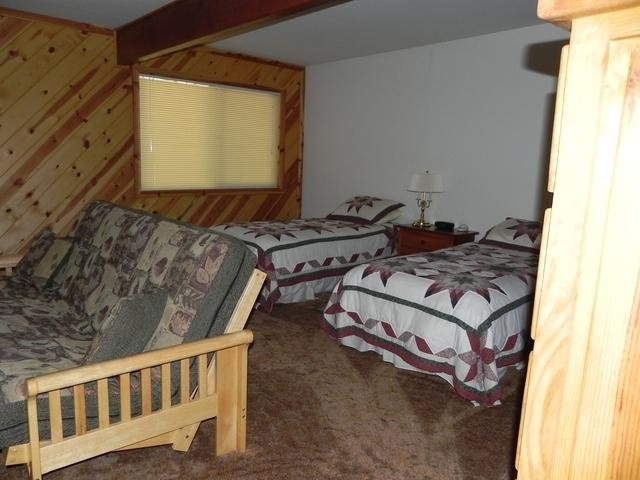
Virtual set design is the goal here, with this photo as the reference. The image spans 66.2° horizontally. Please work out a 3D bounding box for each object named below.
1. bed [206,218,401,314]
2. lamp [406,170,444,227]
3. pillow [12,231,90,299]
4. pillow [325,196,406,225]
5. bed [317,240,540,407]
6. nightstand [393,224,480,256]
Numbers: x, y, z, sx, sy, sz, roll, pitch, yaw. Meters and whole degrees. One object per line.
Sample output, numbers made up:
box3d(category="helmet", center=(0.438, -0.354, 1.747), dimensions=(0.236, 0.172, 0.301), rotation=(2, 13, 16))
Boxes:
box3d(category="bed", center=(-0.040, 0.156, 4.514), dimensions=(1.222, 0.322, 0.961), rotation=(-5, 11, -35))
box3d(category="lamp", center=(1.064, -0.405, 4.968), dimensions=(0.409, 0.475, 0.371), rotation=(8, 1, 21))
box3d(category="pillow", center=(-1.741, 0.192, 3.376), dimensions=(0.481, 0.410, 0.106), rotation=(9, -29, 27))
box3d(category="pillow", center=(0.545, -0.322, 5.232), dimensions=(0.394, 0.169, 0.610), rotation=(-26, 18, -38))
box3d(category="bed", center=(0.842, 0.365, 3.457), dimensions=(1.128, 0.391, 1.505), rotation=(-23, 12, -23))
box3d(category="nightstand", center=(1.111, -0.020, 4.771), dimensions=(0.379, 0.435, 0.533), rotation=(-7, 15, -38))
